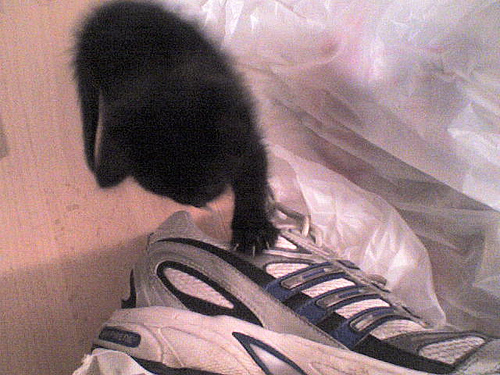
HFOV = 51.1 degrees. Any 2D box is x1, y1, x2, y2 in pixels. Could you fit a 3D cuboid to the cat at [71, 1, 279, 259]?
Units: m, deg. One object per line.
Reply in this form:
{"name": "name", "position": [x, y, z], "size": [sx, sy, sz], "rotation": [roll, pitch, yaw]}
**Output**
{"name": "cat", "position": [-0.194, -0.169, 1.763], "size": [0.495, 0.290, 0.822], "rotation": [-24, 97, 6]}
